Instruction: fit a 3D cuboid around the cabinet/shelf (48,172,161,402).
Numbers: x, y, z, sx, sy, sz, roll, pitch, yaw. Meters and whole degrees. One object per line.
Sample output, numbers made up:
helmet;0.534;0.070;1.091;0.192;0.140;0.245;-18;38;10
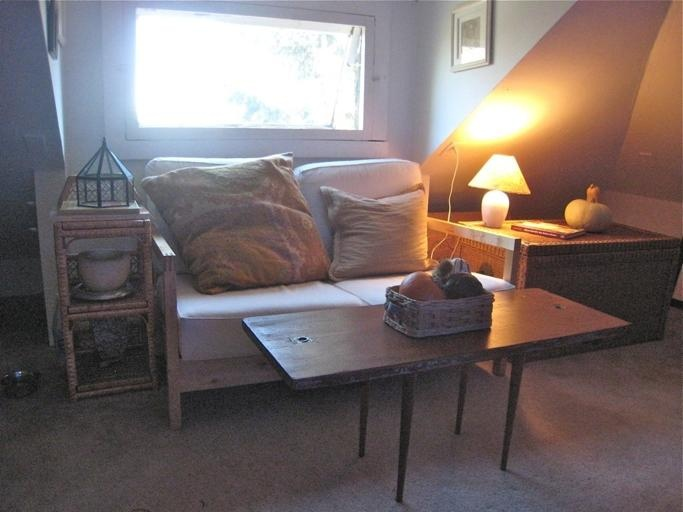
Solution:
cabinet/shelf;-1.096;0.113;2.515;0.447;0.858;0.656;-9;17;-24

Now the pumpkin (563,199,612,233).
pumpkin;1.385;-0.218;3.052;0.201;0.149;0.197;0;6;-2

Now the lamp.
lamp;0.911;-0.361;3.132;0.400;0.456;0.395;6;9;19

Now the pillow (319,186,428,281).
pillow;0.144;-0.093;2.645;0.457;0.359;0.172;-3;4;-16

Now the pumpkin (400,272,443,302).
pumpkin;0.267;0.097;1.830;0.099;0.077;0.109;1;2;7

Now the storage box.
storage box;1.276;0.218;3.195;1.167;0.749;0.627;0;19;-17
